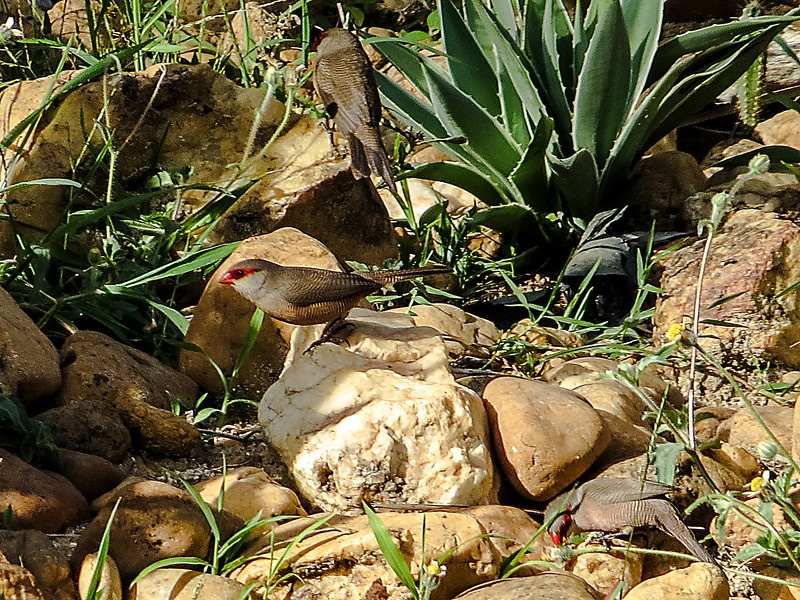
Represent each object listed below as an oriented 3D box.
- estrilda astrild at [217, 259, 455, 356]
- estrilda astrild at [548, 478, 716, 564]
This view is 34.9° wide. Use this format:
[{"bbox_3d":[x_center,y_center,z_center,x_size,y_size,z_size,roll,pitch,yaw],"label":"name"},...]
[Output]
[{"bbox_3d":[-0.255,-0.025,5.029,0.987,0.286,0.251,-8,14,-28],"label":"estrilda astrild"},{"bbox_3d":[0.892,0.804,4.622,0.650,0.203,0.243,-3,71,39],"label":"estrilda astrild"}]
